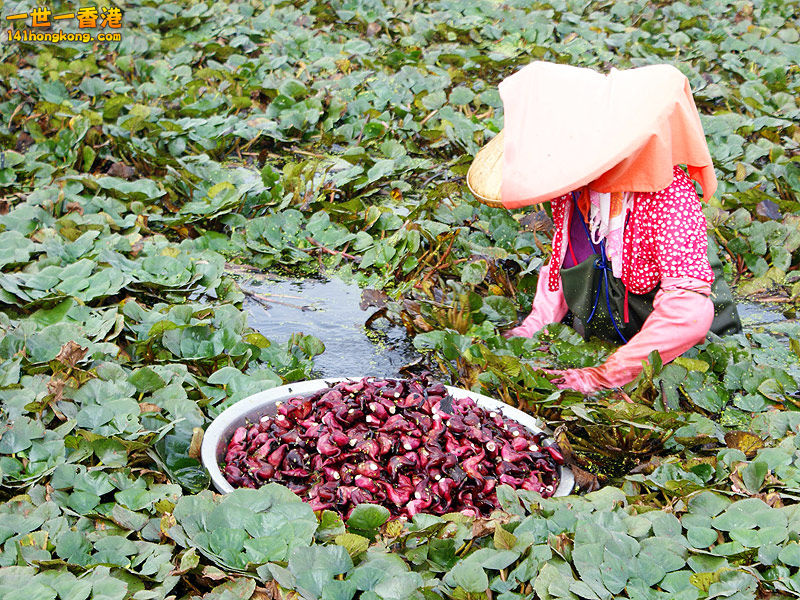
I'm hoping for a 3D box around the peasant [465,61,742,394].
[{"bbox_3d":[0.826,-0.255,3.272,1.082,1.258,0.959,-14,20,-27],"label":"peasant"}]

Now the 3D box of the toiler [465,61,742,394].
[{"bbox_3d":[0.831,-0.391,3.350,1.045,1.257,1.027,14,29,28],"label":"toiler"}]

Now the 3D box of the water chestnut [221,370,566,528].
[{"bbox_3d":[-0.017,0.472,2.717,1.142,0.177,0.573,6,32,1],"label":"water chestnut"}]
